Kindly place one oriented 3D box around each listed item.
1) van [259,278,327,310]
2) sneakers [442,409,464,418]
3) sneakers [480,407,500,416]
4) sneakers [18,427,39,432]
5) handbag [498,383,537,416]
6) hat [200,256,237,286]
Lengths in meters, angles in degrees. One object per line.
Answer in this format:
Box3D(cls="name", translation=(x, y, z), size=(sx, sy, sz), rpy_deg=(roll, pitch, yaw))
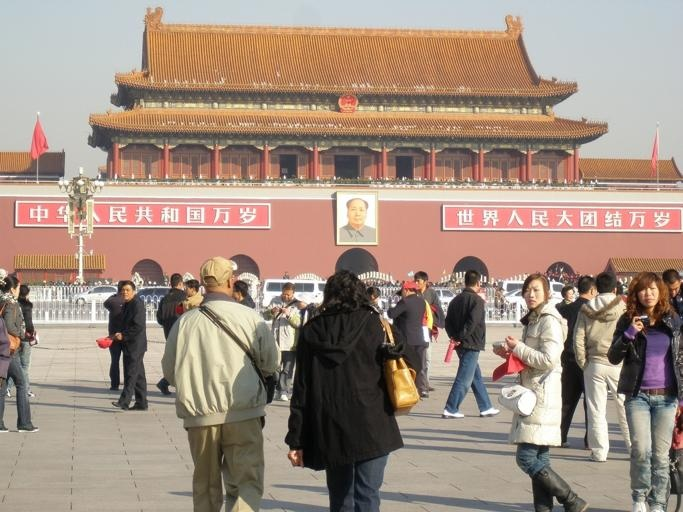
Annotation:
Box3D(cls="van", translation=(-1.410, 1.032, 44.743), size=(1.893, 0.969, 1.089), rpy_deg=(-2, -1, -5))
Box3D(cls="sneakers", translation=(1.933, 2.711, 26.340), size=(0.355, 0.155, 0.137), rpy_deg=(0, 6, -2))
Box3D(cls="sneakers", translation=(2.602, 2.684, 26.476), size=(0.358, 0.135, 0.131), rpy_deg=(-7, 9, -19))
Box3D(cls="sneakers", translation=(-5.215, 2.863, 25.369), size=(0.310, 0.129, 0.118), rpy_deg=(0, 4, -11))
Box3D(cls="handbag", translation=(2.611, 2.135, 22.720), size=(0.387, 0.376, 0.532), rpy_deg=(0, 5, -24))
Box3D(cls="hat", translation=(-1.853, 0.220, 22.657), size=(0.471, 0.416, 0.648), rpy_deg=(-1, -1, -5))
